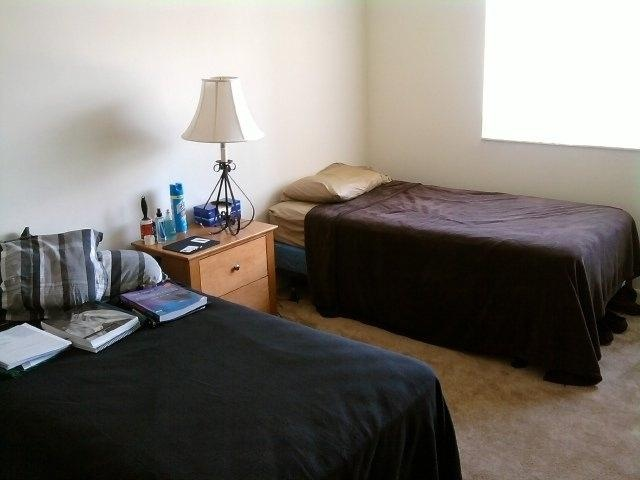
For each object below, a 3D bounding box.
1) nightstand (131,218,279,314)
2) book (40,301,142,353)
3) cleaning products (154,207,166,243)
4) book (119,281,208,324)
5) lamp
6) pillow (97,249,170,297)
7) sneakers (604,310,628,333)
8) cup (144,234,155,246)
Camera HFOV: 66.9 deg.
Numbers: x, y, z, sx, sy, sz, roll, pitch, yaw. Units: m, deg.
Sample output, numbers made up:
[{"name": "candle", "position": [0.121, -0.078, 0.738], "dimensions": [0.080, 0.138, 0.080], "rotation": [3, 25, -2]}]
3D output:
[{"name": "nightstand", "position": [-0.645, 0.235, 3.082], "dimensions": [0.636, 0.633, 0.469], "rotation": [-20, 29, -40]}, {"name": "book", "position": [-0.994, 0.369, 2.105], "dimensions": [0.347, 0.069, 0.358], "rotation": [6, 18, -17]}, {"name": "cleaning products", "position": [-0.947, -0.096, 2.859], "dimensions": [0.065, 0.190, 0.129], "rotation": [-9, 16, -17]}, {"name": "book", "position": [-0.723, 0.276, 2.237], "dimensions": [0.204, 0.045, 0.211], "rotation": [16, 20, 34]}, {"name": "lamp", "position": [-0.595, -0.516, 2.988], "dimensions": [0.447, 0.959, 0.600], "rotation": [-8, 16, -14]}, {"name": "pillow", "position": [-0.954, 0.151, 2.447], "dimensions": [0.252, 0.077, 0.223], "rotation": [10, 19, 34]}, {"name": "sneakers", "position": [1.841, 0.503, 3.037], "dimensions": [0.090, 0.041, 0.150], "rotation": [-16, 21, -2]}, {"name": "cup", "position": [-0.977, -0.003, 2.784], "dimensions": [0.051, 0.052, 0.050], "rotation": [0, 9, 0]}]
